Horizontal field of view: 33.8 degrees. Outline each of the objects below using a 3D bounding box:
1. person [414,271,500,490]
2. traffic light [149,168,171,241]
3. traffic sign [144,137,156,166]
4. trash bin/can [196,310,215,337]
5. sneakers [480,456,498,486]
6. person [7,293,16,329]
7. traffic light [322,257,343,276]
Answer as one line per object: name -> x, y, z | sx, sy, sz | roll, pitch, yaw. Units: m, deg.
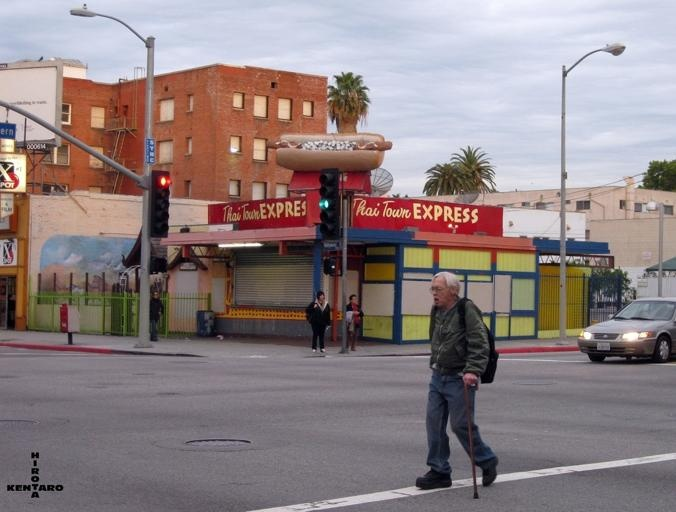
person -> 1.608, 1.670, 14.978 | 1.004, 2.911, 0.697 | 0, -3, 15
traffic light -> -5.320, -1.602, 33.284 | 0.561, 2.093, 1.227 | 1, -3, -10
traffic sign -> -5.601, -3.148, 33.179 | 0.246, 0.676, 1.016 | 1, -4, -12
trash bin/can -> -5.062, 2.605, 42.508 | 0.812, 1.262, 0.890 | 1, -3, -13
sneakers -> 2.004, 2.925, 14.931 | 0.189, 0.440, 0.157 | 16, -9, -43
person -> -13.950, 2.373, 47.466 | 0.328, 1.454, 0.885 | 2, -4, -28
traffic light -> -0.185, 0.323, 34.927 | 0.518, 0.742, 0.679 | 2, -3, -42
